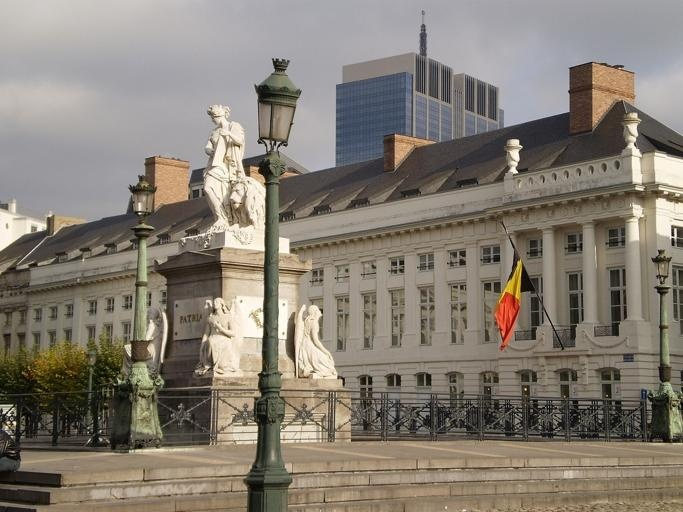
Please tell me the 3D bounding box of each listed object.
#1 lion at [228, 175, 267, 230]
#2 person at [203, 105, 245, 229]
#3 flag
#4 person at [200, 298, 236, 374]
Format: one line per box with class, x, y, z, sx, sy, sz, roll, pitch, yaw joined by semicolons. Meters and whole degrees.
lion;-2.605;-1.400;40.201;1.276;1.610;1.639;3;-4;18
person;-3.354;-2.477;40.342;1.313;3.551;1.066;-4;-11;30
flag;7.818;1.672;64.604;1.573;4.935;4.127;-2;-13;6
person;-3.279;2.249;38.164;0.973;2.040;0.601;0;-13;-3
